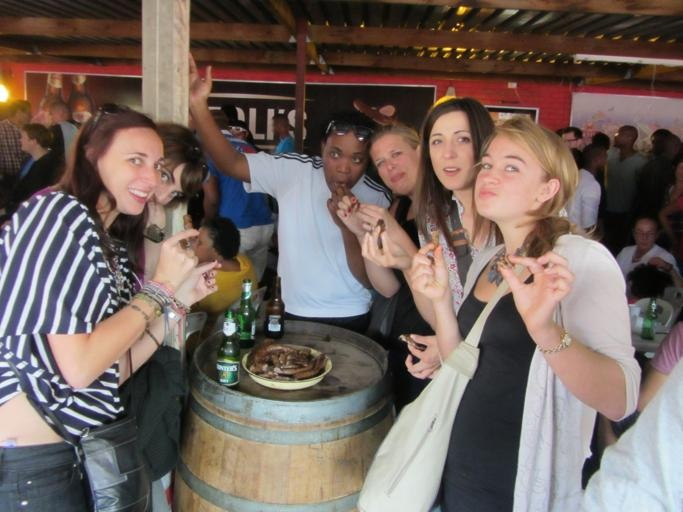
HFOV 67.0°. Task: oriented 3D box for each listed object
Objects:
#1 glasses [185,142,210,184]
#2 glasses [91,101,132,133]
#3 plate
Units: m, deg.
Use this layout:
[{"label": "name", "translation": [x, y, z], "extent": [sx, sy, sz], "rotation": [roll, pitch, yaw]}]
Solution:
[{"label": "glasses", "translation": [-0.671, -0.443, 2.470], "extent": [0.146, 0.161, 0.153], "rotation": [12, 16, 30]}, {"label": "glasses", "translation": [-0.894, -0.537, 1.993], "extent": [0.136, 0.086, 0.141], "rotation": [-6, 16, -22]}, {"label": "plate", "translation": [-0.227, 0.491, 2.291], "extent": [0.240, 0.057, 0.237], "rotation": [-4, 20, -22]}]
